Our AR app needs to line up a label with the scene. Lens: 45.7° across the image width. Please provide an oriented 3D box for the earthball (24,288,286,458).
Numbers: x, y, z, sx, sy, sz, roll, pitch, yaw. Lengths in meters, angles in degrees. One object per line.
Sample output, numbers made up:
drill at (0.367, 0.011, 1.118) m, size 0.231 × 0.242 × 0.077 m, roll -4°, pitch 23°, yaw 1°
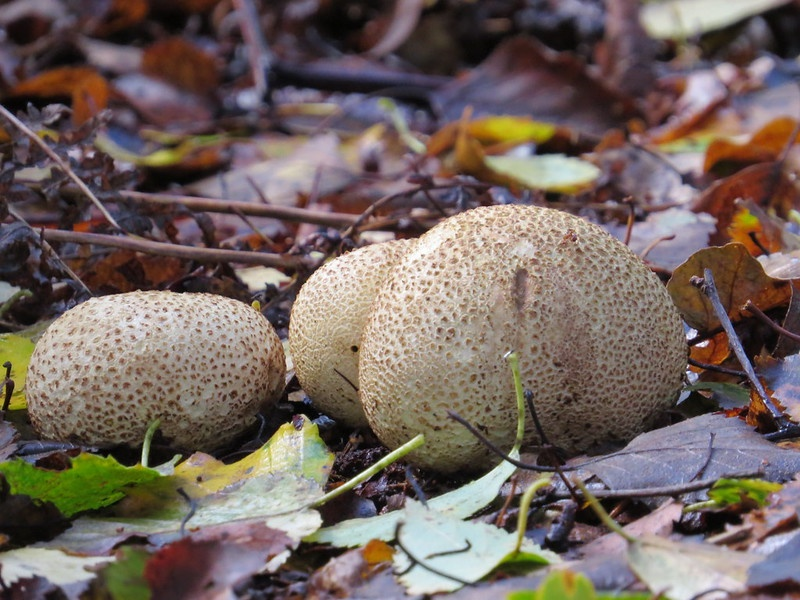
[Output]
earthball at (-0.643, 0.206, 2.669) m, size 0.682 × 0.473 × 0.334 m, roll -4°, pitch 85°, yaw -3°
